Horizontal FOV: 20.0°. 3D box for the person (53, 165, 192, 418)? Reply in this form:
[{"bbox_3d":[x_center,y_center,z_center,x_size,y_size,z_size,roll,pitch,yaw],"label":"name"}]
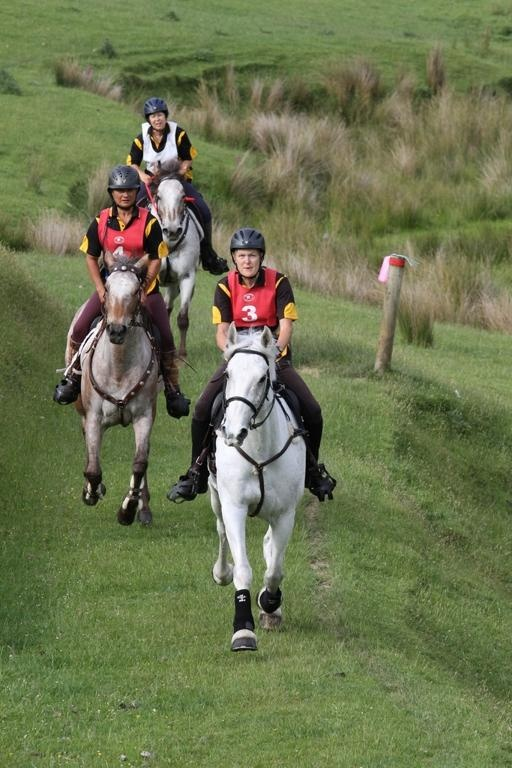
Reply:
[{"bbox_3d":[-1.154,-0.808,13.193,1.053,2.231,0.909,3,8,2],"label":"person"}]

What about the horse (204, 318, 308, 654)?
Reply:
[{"bbox_3d":[-0.040,0.784,10.769,0.544,2.495,1.454,6,14,15],"label":"horse"}]

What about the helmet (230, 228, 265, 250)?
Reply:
[{"bbox_3d":[-0.072,-1.104,11.333,0.248,0.220,0.264,4,15,1],"label":"helmet"}]

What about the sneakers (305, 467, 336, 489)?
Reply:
[{"bbox_3d":[0.524,0.755,12.002,0.242,0.141,0.153,18,-22,-40],"label":"sneakers"}]

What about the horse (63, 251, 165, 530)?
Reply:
[{"bbox_3d":[-1.327,0.184,13.399,0.670,2.454,3.041,1,-4,-8],"label":"horse"}]

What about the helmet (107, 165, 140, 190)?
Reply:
[{"bbox_3d":[-1.169,-1.786,12.788,0.168,0.208,0.249,-1,-8,-10],"label":"helmet"}]
